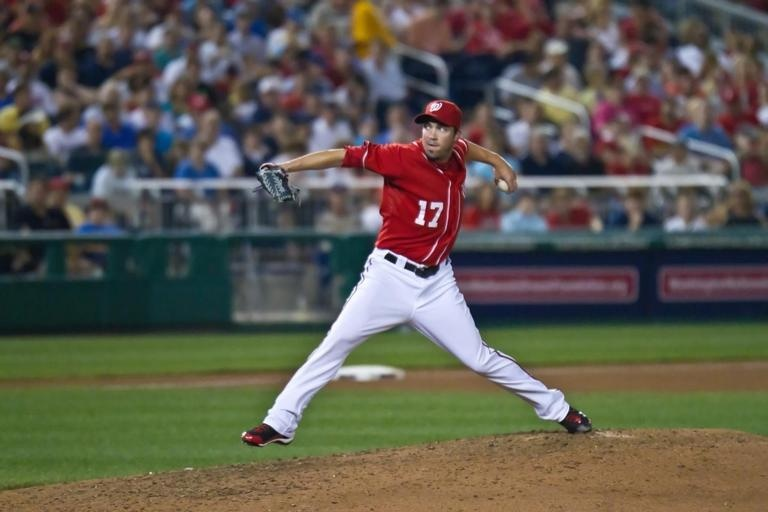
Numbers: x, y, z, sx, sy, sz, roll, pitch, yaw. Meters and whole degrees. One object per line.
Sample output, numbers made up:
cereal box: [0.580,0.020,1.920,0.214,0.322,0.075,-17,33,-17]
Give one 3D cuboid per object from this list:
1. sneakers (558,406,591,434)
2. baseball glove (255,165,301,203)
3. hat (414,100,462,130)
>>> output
sneakers: [2.199,1.839,18.256,0.471,0.209,0.178,1,7,10]
baseball glove: [-1.115,-0.702,17.693,0.310,0.162,0.326,-27,15,-19]
hat: [0.687,-1.486,17.902,0.423,0.223,0.302,19,0,-38]
